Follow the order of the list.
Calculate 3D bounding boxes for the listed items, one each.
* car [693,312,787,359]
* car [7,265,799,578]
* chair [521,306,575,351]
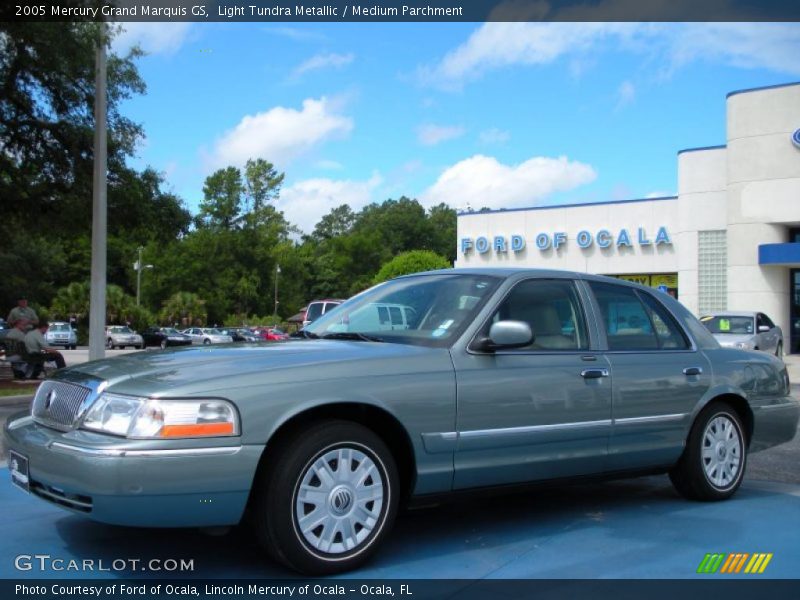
[{"bbox_3d":[8.779,0.841,15.472,1.772,1.187,3.702,-5,-11,39],"label":"car"},{"bbox_3d":[0.315,0.700,4.456,5.269,1.941,1.342,2,-2,-32],"label":"car"},{"bbox_3d":[1.163,0.231,4.713,0.343,0.331,0.340,-1,-5,-5],"label":"chair"}]
